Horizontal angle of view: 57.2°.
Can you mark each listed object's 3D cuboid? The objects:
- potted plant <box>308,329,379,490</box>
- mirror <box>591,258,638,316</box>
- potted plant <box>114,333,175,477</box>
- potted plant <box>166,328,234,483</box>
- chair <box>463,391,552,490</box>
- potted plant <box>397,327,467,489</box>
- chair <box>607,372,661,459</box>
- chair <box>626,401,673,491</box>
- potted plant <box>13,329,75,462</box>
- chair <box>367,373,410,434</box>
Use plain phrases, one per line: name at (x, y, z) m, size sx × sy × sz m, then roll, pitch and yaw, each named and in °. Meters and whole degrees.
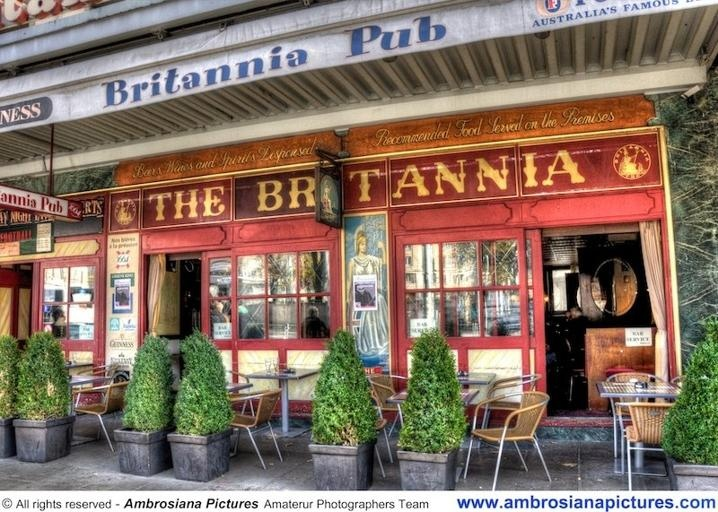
potted plant at (-0.205, 1.754, 7.640) m, size 0.841 × 1.666 × 0.798 m, roll 4°, pitch -6°, yaw 10°
mirror at (4.555, 0.584, 11.665) m, size 0.918 × 1.299 × 0.180 m, roll -5°, pitch -12°, yaw 35°
potted plant at (-2.668, 1.840, 8.207) m, size 0.665 × 1.704 × 0.399 m, roll 1°, pitch -9°, yaw -12°
potted plant at (-1.914, 1.804, 7.972) m, size 0.757 × 1.757 × 0.355 m, roll 1°, pitch -9°, yaw -12°
chair at (1.772, 2.146, 7.778) m, size 0.975 × 1.010 × 0.876 m, roll 4°, pitch -5°, yaw -33°
potted plant at (0.750, 1.696, 7.335) m, size 0.872 × 1.596 × 0.795 m, roll 3°, pitch -2°, yaw -37°
chair at (3.478, 1.944, 8.204) m, size 0.912 × 0.970 × 0.875 m, roll -8°, pitch -13°, yaw 33°
chair at (3.135, 2.150, 7.295) m, size 0.665 × 0.868 × 0.708 m, roll -9°, pitch -26°, yaw 20°
potted plant at (-4.309, 1.853, 9.014) m, size 0.737 × 1.638 × 0.728 m, roll -7°, pitch -8°, yaw 24°
chair at (0.475, 2.066, 9.215) m, size 0.630 × 0.665 × 0.553 m, roll 2°, pitch -25°, yaw -44°
